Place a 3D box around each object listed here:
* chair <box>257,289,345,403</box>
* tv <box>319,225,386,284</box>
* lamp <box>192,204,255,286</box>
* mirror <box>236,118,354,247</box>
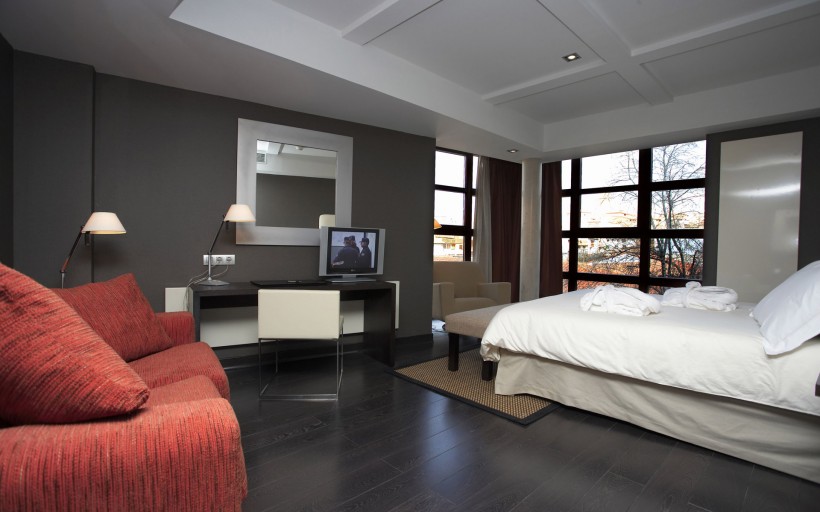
[{"bbox_3d":[-1.075,0.804,4.797,0.826,1.017,0.749,0,2,-5],"label":"chair"},{"bbox_3d":[-0.676,-0.025,5.530,0.701,0.491,0.199,1,-1,-31],"label":"tv"},{"bbox_3d":[-1.922,-0.141,5.066,0.646,0.846,0.348,-1,3,-23],"label":"lamp"},{"bbox_3d":[-1.339,-0.821,5.468,1.497,1.506,0.050,4,-5,-34],"label":"mirror"}]
